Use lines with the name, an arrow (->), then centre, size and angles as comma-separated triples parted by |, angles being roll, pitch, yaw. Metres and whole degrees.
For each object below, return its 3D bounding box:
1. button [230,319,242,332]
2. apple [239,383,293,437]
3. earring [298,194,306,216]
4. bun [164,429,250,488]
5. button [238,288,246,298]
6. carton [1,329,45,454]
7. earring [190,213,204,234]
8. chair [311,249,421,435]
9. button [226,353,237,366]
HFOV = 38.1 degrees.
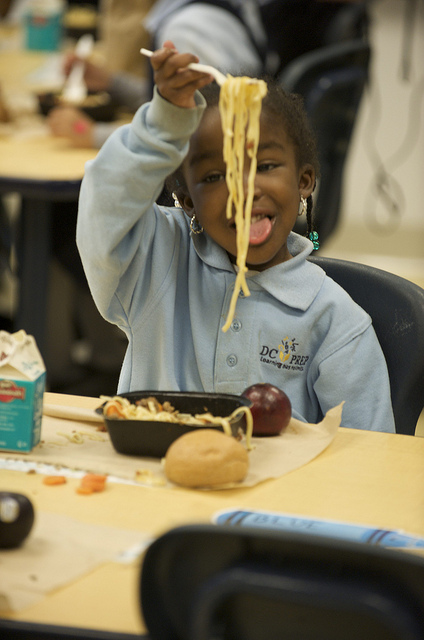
button -> 0.038, 0.006, 0.923 | 0.020, 0.018, 0.005 | 4, 4, 7
apple -> 0.061, 0.105, 0.747 | 0.064, 0.058, 0.058 | -4, 7, -3
earring -> 0.149, -0.191, 0.994 | 0.006, 0.025, 0.025 | 10, 3, 22
bun -> -0.005, 0.127, 0.608 | 0.067, 0.045, 0.074 | -5, 5, -41
button -> 0.048, -0.041, 0.950 | 0.003, 0.010, 0.010 | -9, -33, 24
carton -> -0.207, 0.079, 0.709 | 0.077, 0.139, 0.049 | 8, 15, 27
earring -> -0.023, -0.153, 0.955 | 0.021, 0.026, 0.010 | 12, 29, 16
chair -> 0.285, 0.019, 1.004 | 0.210, 0.275, 0.109 | 13, 15, 41
button -> 0.031, 0.059, 0.943 | 0.015, 0.017, 0.006 | -1, 10, -22
